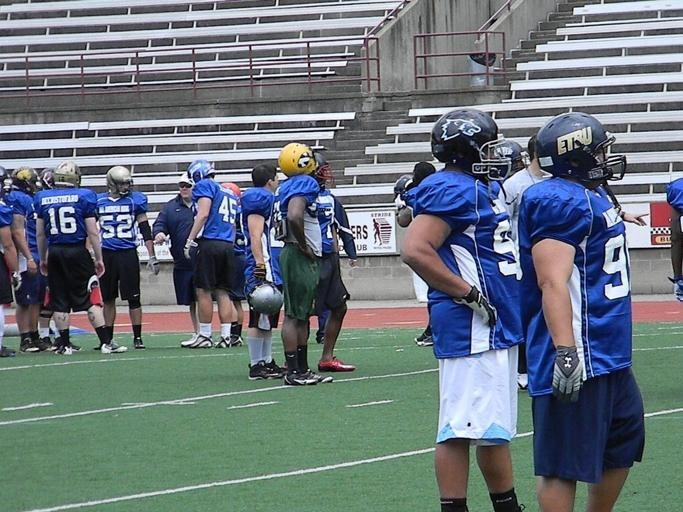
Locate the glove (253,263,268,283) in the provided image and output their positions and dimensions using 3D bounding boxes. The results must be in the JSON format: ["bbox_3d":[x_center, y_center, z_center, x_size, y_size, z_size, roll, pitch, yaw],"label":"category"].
[{"bbox_3d":[-0.814,0.174,9.452,0.153,0.253,0.198,-1,2,21],"label":"glove"}]

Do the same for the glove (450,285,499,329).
[{"bbox_3d":[0.782,0.284,5.338,0.253,0.106,0.163,37,-4,-13],"label":"glove"}]

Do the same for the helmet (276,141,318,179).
[{"bbox_3d":[-0.426,-0.920,9.018,0.363,0.268,0.295,-6,-26,-8],"label":"helmet"}]

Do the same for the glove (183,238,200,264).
[{"bbox_3d":[-1.942,-0.067,12.106,0.141,0.298,0.219,7,0,-10],"label":"glove"}]

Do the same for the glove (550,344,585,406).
[{"bbox_3d":[1.179,0.618,4.835,0.154,0.285,0.073,-1,3,13],"label":"glove"}]

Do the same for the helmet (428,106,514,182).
[{"bbox_3d":[0.779,-0.675,5.620,0.482,0.404,0.352,2,5,1],"label":"helmet"}]

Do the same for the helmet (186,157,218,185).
[{"bbox_3d":[-1.854,-1.113,12.346,0.333,0.329,0.599,-2,3,-11],"label":"helmet"}]

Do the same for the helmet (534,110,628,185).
[{"bbox_3d":[1.351,-0.617,5.263,0.487,0.374,0.350,-2,8,5],"label":"helmet"}]

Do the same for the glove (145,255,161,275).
[{"bbox_3d":[-3.249,0.164,16.033,0.155,0.333,0.264,-18,28,-13],"label":"glove"}]

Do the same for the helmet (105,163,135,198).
[{"bbox_3d":[-3.000,-1.005,12.622,0.318,0.425,0.384,-3,3,-15],"label":"helmet"}]

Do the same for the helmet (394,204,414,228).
[{"bbox_3d":[0.775,-0.468,11.233,0.250,0.342,0.129,-4,-4,44],"label":"helmet"}]

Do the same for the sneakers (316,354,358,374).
[{"bbox_3d":[-0.061,1.218,10.209,0.331,0.139,0.171,1,-2,-2],"label":"sneakers"}]

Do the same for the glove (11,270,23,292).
[{"bbox_3d":[-4.188,0.337,12.023,0.121,0.265,0.431,-3,3,-18],"label":"glove"}]

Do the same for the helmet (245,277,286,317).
[{"bbox_3d":[-0.744,0.446,9.237,0.336,0.317,0.420,-2,3,-7],"label":"helmet"}]
